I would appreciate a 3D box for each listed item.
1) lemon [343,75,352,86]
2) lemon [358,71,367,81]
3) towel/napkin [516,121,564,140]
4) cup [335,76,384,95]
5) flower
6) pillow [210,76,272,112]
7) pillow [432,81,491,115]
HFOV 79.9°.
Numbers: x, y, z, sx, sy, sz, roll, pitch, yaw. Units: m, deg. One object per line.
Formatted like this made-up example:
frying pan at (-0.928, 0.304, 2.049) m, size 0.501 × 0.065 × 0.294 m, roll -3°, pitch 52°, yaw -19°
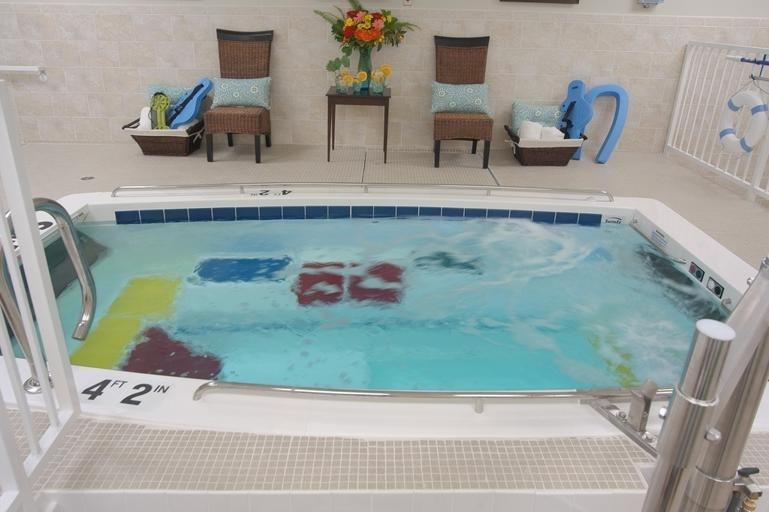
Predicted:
lemon at (-0.405, -2.064, 5.416) m, size 0.103 × 0.109 × 0.153 m, roll 9°, pitch 26°, yaw 16°
lemon at (-0.249, -2.115, 5.418) m, size 0.126 × 0.097 × 0.206 m, roll 0°, pitch 24°, yaw -3°
towel/napkin at (1.883, -1.473, 5.528) m, size 0.396 × 0.126 × 0.338 m, roll 1°, pitch 29°, yaw -4°
cup at (-0.287, -2.040, 5.509) m, size 0.555 × 0.192 × 0.418 m, roll 0°, pitch 24°, yaw -1°
flower at (-0.228, -2.664, 5.583) m, size 1.041 × 0.826 × 0.720 m, roll 0°, pitch 26°, yaw -2°
pillow at (-1.761, -1.989, 5.664) m, size 0.732 × 0.319 × 0.203 m, roll 1°, pitch 15°, yaw 3°
pillow at (0.947, -1.928, 5.651) m, size 0.693 × 0.347 × 0.359 m, roll 2°, pitch 25°, yaw 3°
